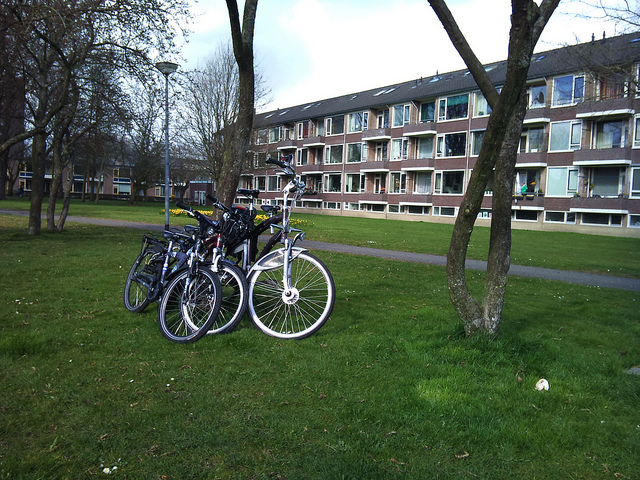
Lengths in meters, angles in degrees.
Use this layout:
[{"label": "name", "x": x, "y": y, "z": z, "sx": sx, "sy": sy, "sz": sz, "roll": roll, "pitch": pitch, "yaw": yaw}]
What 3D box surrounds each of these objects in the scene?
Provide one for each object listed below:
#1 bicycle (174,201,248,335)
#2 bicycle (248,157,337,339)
[{"label": "bicycle", "x": -1.521, "y": 0.388, "z": 6.982, "sx": 0.858, "sy": 1.825, "sz": 1.489, "roll": -1, "pitch": 12, "yaw": -15}, {"label": "bicycle", "x": -0.400, "y": 0.061, "z": 7.081, "sx": 1.281, "sy": 2.526, "sz": 1.512, "roll": 2, "pitch": 11, "yaw": 2}]
